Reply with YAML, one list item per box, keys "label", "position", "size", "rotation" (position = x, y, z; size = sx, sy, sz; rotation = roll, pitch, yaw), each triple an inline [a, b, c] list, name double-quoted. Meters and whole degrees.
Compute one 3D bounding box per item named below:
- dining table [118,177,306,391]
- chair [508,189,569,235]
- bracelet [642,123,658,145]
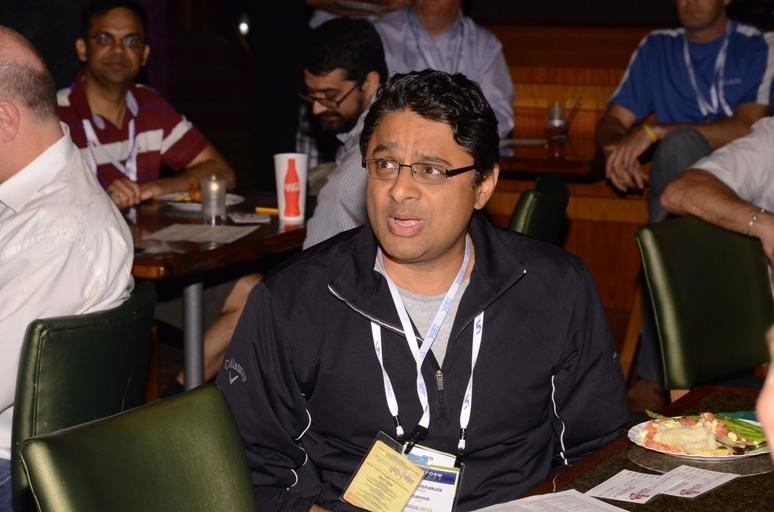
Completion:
- label: "dining table"
  position: [-0.730, 0.086, 2.621]
  size: [0.976, 0.603, 0.534]
  rotation: [17, 27, 38]
- label: "chair"
  position: [0.684, -0.200, 2.838]
  size: [0.177, 0.217, 0.352]
  rotation: [2, 24, 20]
- label: "bracelet"
  position: [1.566, -0.731, 3.795]
  size: [0.044, 0.105, 0.087]
  rotation: [-20, 7, -12]
